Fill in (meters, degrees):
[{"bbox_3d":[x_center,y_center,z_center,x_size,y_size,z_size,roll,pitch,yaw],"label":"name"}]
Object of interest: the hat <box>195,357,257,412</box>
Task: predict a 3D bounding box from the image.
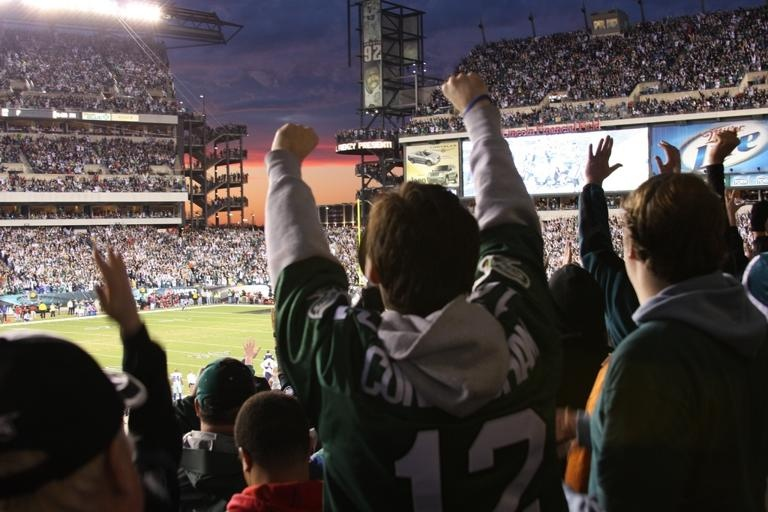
[{"bbox_3d":[-1.019,0.810,4.250,0.359,0.266,0.413,-4,5,-10],"label":"hat"}]
